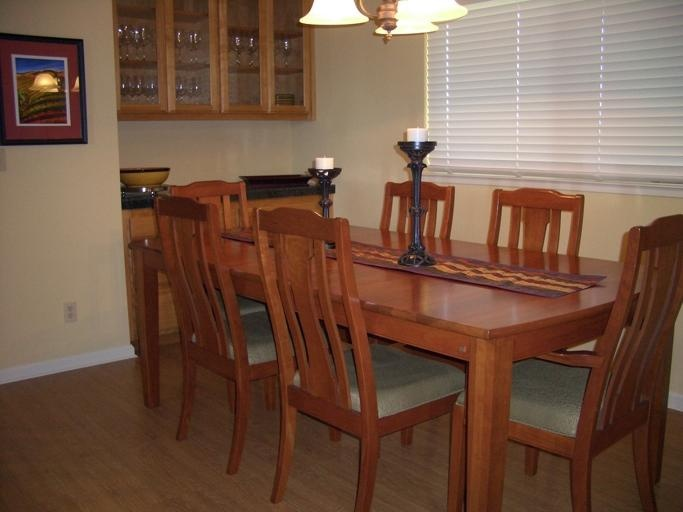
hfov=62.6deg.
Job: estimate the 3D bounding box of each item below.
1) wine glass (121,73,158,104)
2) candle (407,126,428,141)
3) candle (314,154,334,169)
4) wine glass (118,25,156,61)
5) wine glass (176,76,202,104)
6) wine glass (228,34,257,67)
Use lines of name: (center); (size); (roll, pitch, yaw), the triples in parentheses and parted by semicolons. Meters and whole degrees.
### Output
wine glass: (-1.419, -1.176, 3.950); (0.195, 0.145, 0.191); (1, 8, -1)
candle: (0.314, -0.512, 2.388); (0.089, 0.060, 0.091); (5, 8, 20)
candle: (-0.085, -0.452, 2.742); (0.104, 0.078, 0.107); (1, 5, -2)
wine glass: (-1.395, -1.449, 3.919); (0.238, 0.272, 0.236); (0, 7, -9)
wine glass: (-1.136, -1.230, 4.177); (0.175, 0.191, 0.171); (0, 9, -16)
wine glass: (-0.781, -1.612, 4.376); (0.265, 0.253, 0.089); (-8, 13, -43)
